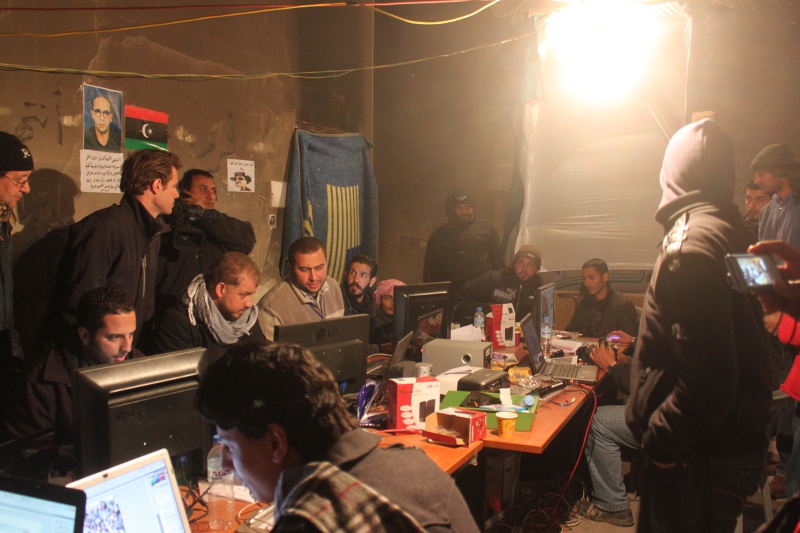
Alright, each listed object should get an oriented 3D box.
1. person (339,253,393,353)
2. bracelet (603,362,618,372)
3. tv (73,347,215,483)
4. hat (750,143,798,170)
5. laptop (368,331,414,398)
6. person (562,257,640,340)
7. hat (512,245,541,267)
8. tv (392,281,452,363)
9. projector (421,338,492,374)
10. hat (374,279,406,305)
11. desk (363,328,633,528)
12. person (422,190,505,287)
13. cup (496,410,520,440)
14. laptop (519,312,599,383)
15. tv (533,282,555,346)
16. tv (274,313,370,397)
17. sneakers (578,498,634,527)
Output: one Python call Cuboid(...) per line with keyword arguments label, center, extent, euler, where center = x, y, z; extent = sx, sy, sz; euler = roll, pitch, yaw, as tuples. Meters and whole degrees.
Cuboid(label="person", center=(-0.288, 0.290, 5.152), extent=(0.546, 0.724, 0.359), euler=(-5, -1, -4))
Cuboid(label="bracelet", center=(1.578, 0.754, 4.527), extent=(0.073, 0.020, 0.076), euler=(-11, 1, -10))
Cuboid(label="tv", center=(-1.155, 0.698, 2.756), extent=(0.689, 0.672, 0.227), euler=(-3, 2, -40))
Cuboid(label="hat", center=(2.975, -0.857, 4.805), extent=(0.251, 0.225, 0.199), euler=(15, 9, 38))
Cuboid(label="laptop", center=(-0.026, 0.610, 3.911), extent=(0.307, 0.277, 0.420), euler=(19, 1, 12))
Cuboid(label="person", center=(1.955, 0.365, 5.721), extent=(0.619, 0.953, 0.792), euler=(4, -4, -29))
Cuboid(label="hat", center=(1.271, -0.104, 5.970), extent=(0.204, 0.161, 0.203), euler=(18, 3, 4))
Cuboid(label="tv", center=(0.154, 0.390, 4.150), extent=(0.166, 0.508, 0.515), euler=(7, 8, 42))
Cuboid(label="projector", center=(0.381, 0.601, 4.118), extent=(0.377, 0.223, 0.255), euler=(4, 1, 8))
Cuboid(label="hat", center=(-0.077, 0.172, 5.037), extent=(0.189, 0.213, 0.233), euler=(3, -22, -9))
Cuboid(label="desk", center=(1.042, 0.832, 4.531), extent=(1.284, 0.479, 1.987), euler=(1, 7, 19))
Cuboid(label="person", center=(0.692, -0.285, 6.151), extent=(0.889, 1.288, 0.386), euler=(-5, -7, 10))
Cuboid(label="cup", center=(0.615, 0.896, 3.418), extent=(0.131, 0.099, 0.130), euler=(0, 0, 0))
Cuboid(label="laptop", center=(1.169, 0.554, 4.408), extent=(0.517, 0.366, 0.509), euler=(1, 10, 24))
Cuboid(label="tv", center=(1.164, 0.397, 4.882), extent=(0.058, 0.375, 0.525), euler=(-1, 1, 21))
Cuboid(label="tv", center=(-0.366, 0.444, 3.017), extent=(0.461, 0.442, 0.145), euler=(-4, 9, -34))
Cuboid(label="sneakers", center=(1.450, 1.764, 4.283), extent=(0.362, 0.153, 0.151), euler=(9, 10, 28))
